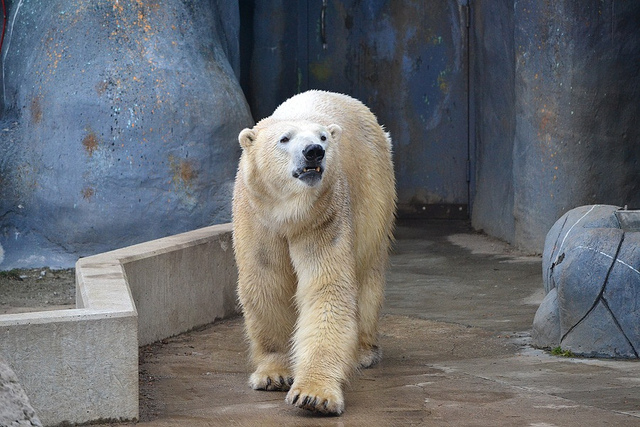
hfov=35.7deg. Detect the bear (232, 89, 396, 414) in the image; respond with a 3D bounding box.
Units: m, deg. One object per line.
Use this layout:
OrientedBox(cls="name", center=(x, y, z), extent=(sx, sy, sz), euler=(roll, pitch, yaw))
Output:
OrientedBox(cls="bear", center=(-0.044, 0.180, 7.050), extent=(1.048, 1.984, 1.464), euler=(6, 13, 29))
